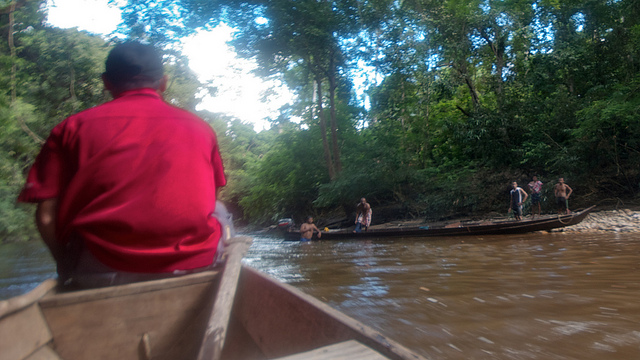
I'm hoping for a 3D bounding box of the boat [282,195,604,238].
[{"bbox_3d":[6.086,2.369,20.610,17.442,1.482,6.525,-7,-6,23],"label":"boat"}]
